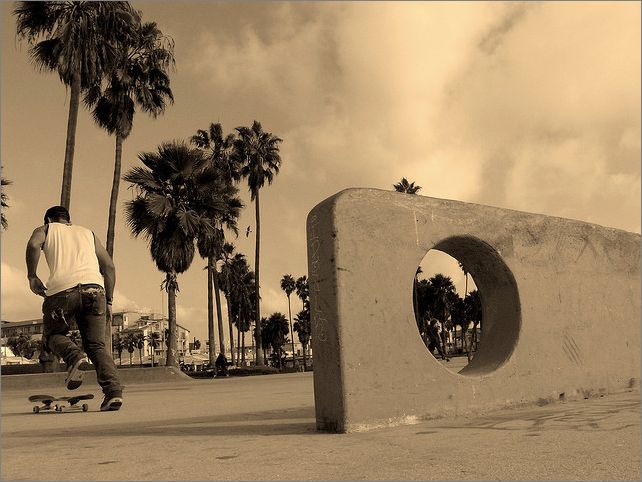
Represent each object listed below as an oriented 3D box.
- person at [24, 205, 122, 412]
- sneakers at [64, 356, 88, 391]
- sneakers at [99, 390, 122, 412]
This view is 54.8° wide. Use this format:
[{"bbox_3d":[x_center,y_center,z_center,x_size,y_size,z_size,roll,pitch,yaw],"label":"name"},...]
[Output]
[{"bbox_3d":[-2.925,0.737,7.308,1.029,2.518,0.678,0,-12,-21],"label":"person"},{"bbox_3d":[-2.944,1.606,7.418,0.190,0.209,0.552,8,-61,-33],"label":"sneakers"},{"bbox_3d":[-2.607,1.999,7.665,0.163,0.223,0.465,7,-25,-27],"label":"sneakers"}]
